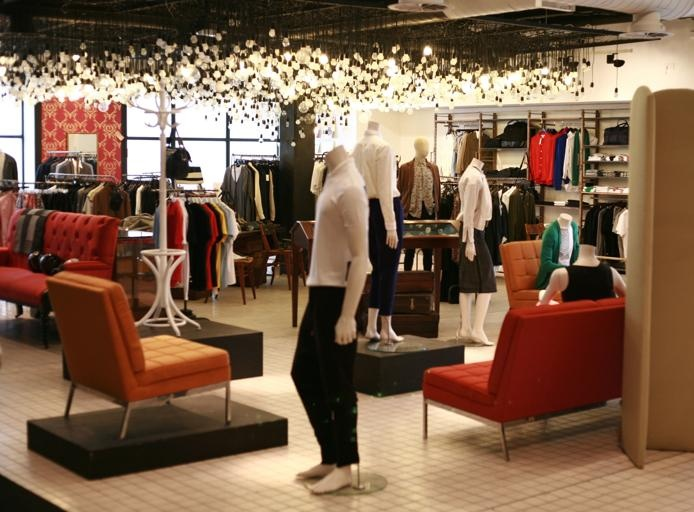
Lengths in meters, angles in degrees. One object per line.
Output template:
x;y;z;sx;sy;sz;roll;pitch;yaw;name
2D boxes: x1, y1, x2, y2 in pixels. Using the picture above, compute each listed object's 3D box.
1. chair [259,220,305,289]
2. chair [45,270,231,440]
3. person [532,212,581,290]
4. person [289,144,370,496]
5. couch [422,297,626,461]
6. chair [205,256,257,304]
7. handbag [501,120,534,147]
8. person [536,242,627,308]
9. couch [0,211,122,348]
-1.144;-0.048;10.441;0.683;1.042;0.694;-1;7;-8;chair
-1.412;0.602;4.191;1.062;1.022;0.901;0;5;-38;chair
2.391;-0.049;6.834;0.464;0.897;0.510;-8;25;-20;person
-0.100;0.385;3.452;0.371;2.004;0.527;-1;6;-17;person
1.409;0.846;4.589;1.574;1.026;0.912;0;1;-37;couch
-1.710;0.354;9.431;0.565;0.720;0.576;7;14;28;chair
3.322;-2.402;12.033;0.559;0.633;0.424;3;1;24;handbag
2.020;0.168;5.390;0.459;0.794;0.319;10;45;23;person
-2.810;0.196;5.962;1.319;0.991;0.702;6;7;43;couch
